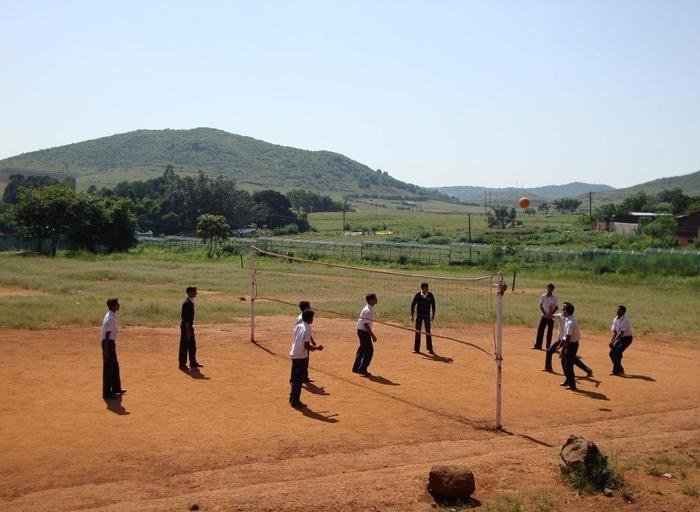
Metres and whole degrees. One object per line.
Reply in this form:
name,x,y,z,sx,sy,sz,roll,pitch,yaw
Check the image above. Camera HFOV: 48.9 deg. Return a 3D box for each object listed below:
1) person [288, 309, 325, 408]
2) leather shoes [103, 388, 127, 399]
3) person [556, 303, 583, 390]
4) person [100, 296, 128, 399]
person,-1.293,2.686,20.793,0.758,2.559,1.257,0,11,-4
leather shoes,-6.358,3.715,20.843,0.608,0.257,0.198,-12,16,-25
person,6.371,2.568,22.316,0.577,2.492,1.204,4,11,16
person,-6.408,2.475,20.683,0.610,2.671,0.637,-3,11,-19
